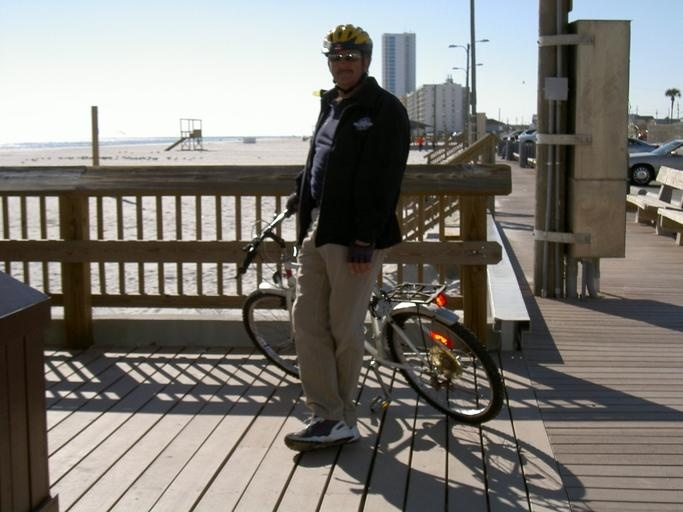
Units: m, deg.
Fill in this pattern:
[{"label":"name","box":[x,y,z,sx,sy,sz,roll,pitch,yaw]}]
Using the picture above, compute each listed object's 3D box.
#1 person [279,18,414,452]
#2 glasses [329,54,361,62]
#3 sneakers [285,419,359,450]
[{"label":"person","box":[0.038,-0.100,3.860,0.692,2.391,0.612,1,13,6]},{"label":"glasses","box":[0.017,-1.131,3.804,0.173,0.039,0.057,0,13,2]},{"label":"sneakers","box":[-0.104,1.039,4.003,0.468,0.217,0.160,-2,0,-14]}]
